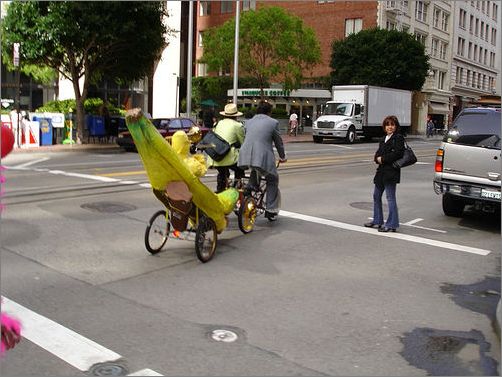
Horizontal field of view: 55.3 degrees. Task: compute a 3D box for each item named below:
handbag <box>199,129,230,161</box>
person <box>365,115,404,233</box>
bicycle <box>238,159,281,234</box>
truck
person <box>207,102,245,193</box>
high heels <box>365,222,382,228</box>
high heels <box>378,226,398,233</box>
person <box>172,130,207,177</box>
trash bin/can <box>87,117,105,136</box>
[{"bbox_3d":[-0.684,-0.707,8.165,0.387,0.607,0.411,7,10,30],"label":"handbag"},{"bbox_3d":[2.568,-0.240,8.814,0.654,2.009,0.654,0,1,-25],"label":"person"},{"bbox_3d":[-0.082,0.286,8.746,0.654,0.894,1.380,4,13,24],"label":"bicycle"},{"bbox_3d":[8.142,-5.695,38.241,9.858,5.130,4.402,-2,4,-42],"label":"truck"},{"bbox_3d":[-0.503,-0.677,8.746,0.761,1.678,0.764,-13,41,-15],"label":"person"},{"bbox_3d":[2.285,0.663,8.935,0.285,0.132,0.111,9,9,17],"label":"high heels"},{"bbox_3d":[2.488,0.754,8.723,0.308,0.126,0.118,7,4,3],"label":"high heels"},{"bbox_3d":[-0.933,-0.509,7.022,0.359,0.771,0.402,-2,6,-17],"label":"person"},{"bbox_3d":[-8.672,-3.431,26.615,1.018,1.600,0.832,0,11,-17],"label":"trash bin/can"}]
